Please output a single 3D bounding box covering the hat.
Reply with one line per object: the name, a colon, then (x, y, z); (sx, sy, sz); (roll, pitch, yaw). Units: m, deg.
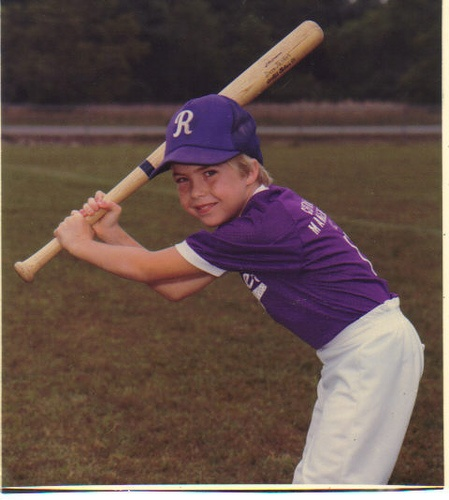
hat: (-0.089, -0.497, 2.929); (0.372, 0.187, 0.428); (9, 34, 24)
